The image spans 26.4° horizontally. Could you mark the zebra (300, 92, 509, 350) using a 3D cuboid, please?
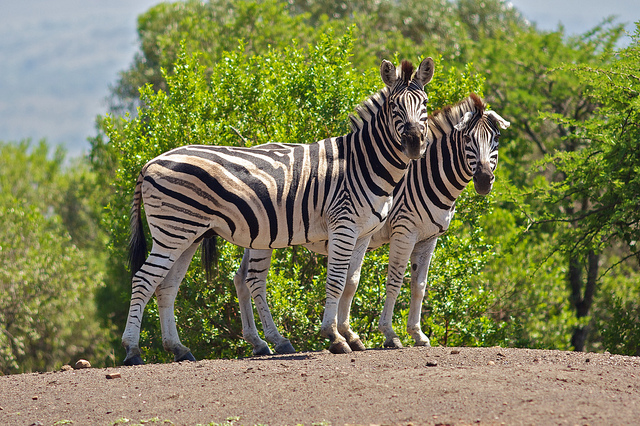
[{"bbox_3d":[1.820,0.179,33.234,3.131,6.278,5.355,3,0,-11],"label":"zebra"}]

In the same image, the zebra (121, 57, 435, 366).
[{"bbox_3d":[-0.894,0.084,32.479,7.387,7.222,2.552,-3,-8,4],"label":"zebra"}]
